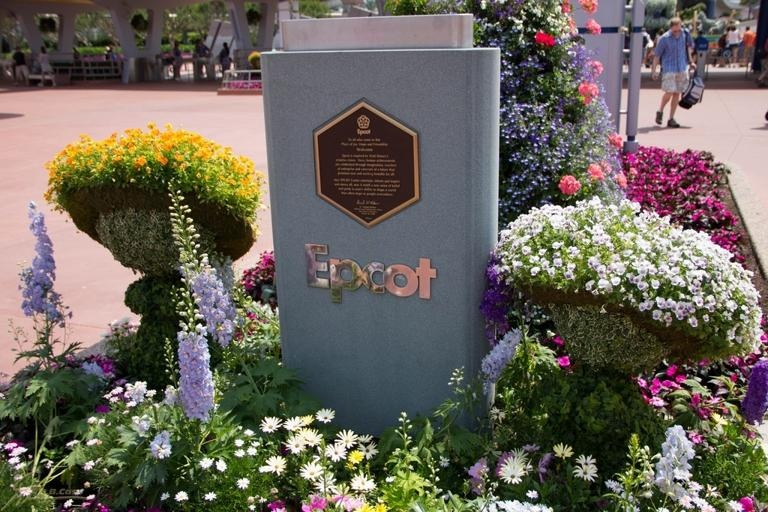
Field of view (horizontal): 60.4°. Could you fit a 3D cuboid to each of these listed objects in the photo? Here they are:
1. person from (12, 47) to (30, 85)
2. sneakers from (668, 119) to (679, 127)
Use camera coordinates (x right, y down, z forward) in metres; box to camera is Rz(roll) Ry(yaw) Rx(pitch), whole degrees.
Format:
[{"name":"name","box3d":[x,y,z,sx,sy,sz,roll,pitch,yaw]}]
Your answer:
[{"name":"person","box3d":[-17.800,-9.285,32.262,0.666,1.625,2.699,-10,22,-26]},{"name":"sneakers","box3d":[5.990,-2.733,13.616,0.139,0.137,0.309,13,26,38]}]
